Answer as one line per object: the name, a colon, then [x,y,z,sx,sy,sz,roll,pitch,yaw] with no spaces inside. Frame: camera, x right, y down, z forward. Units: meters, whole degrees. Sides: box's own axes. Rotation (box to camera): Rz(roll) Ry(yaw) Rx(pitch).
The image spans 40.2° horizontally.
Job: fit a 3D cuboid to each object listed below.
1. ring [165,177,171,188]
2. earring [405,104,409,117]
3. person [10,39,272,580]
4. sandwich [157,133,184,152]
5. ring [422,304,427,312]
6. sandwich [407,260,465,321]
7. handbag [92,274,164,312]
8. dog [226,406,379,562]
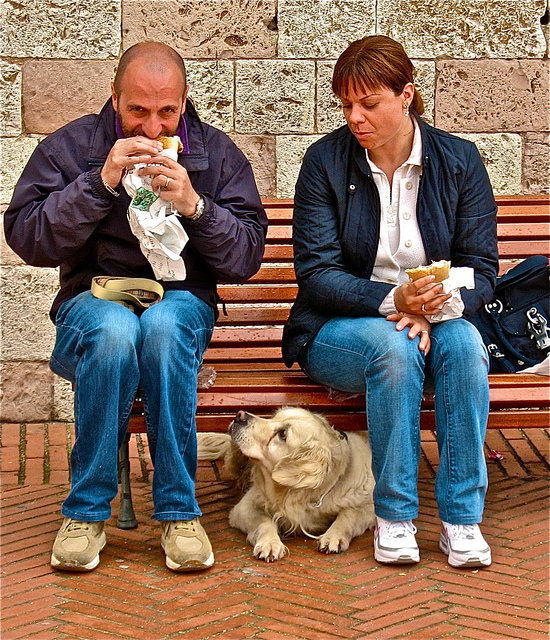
ring: [-0.406,-0.516,2.810,0.015,0.035,0.034,-3,7,-27]
earring: [0.563,-0.891,3.181,0.015,0.045,0.013,8,-13,-40]
person: [-0.567,-0.101,3.133,1.030,2.025,1.110,0,7,-1]
sandwich: [-0.407,-0.689,2.926,0.105,0.074,0.032,-9,-10,-12]
ring: [0.587,-0.047,2.933,0.009,0.029,0.012,-13,12,-26]
sandwich: [0.654,-0.126,2.966,0.231,0.211,0.085,-15,-1,22]
handbag: [-0.594,-0.100,3.018,0.226,0.054,0.144,10,29,-29]
dog: [0.052,0.709,3.418,0.836,0.493,1.210,3,-6,0]
